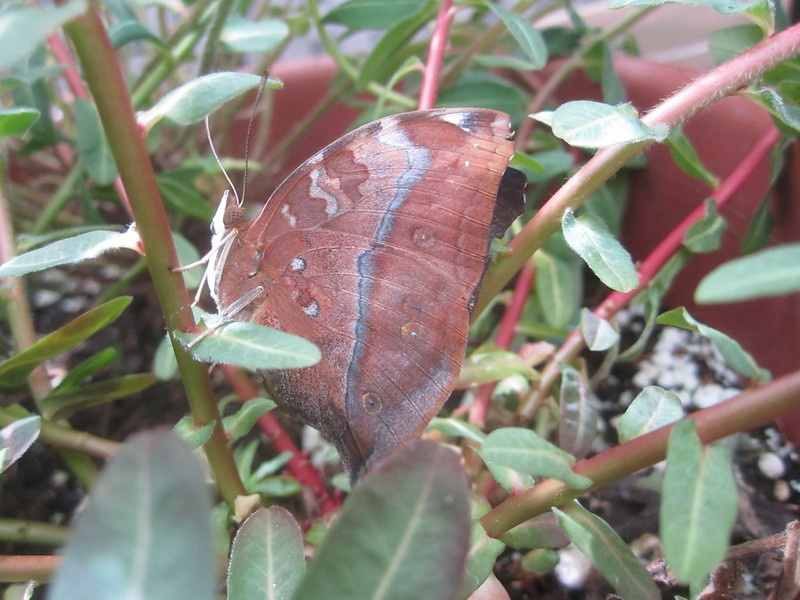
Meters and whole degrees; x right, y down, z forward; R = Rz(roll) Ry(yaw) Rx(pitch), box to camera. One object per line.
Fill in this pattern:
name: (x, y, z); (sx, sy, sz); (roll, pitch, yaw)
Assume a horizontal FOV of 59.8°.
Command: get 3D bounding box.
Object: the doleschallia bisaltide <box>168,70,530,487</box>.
doleschallia bisaltide: (-0.065, -0.007, 0.868); (0.423, 0.411, 0.222); (3, 27, 29)
